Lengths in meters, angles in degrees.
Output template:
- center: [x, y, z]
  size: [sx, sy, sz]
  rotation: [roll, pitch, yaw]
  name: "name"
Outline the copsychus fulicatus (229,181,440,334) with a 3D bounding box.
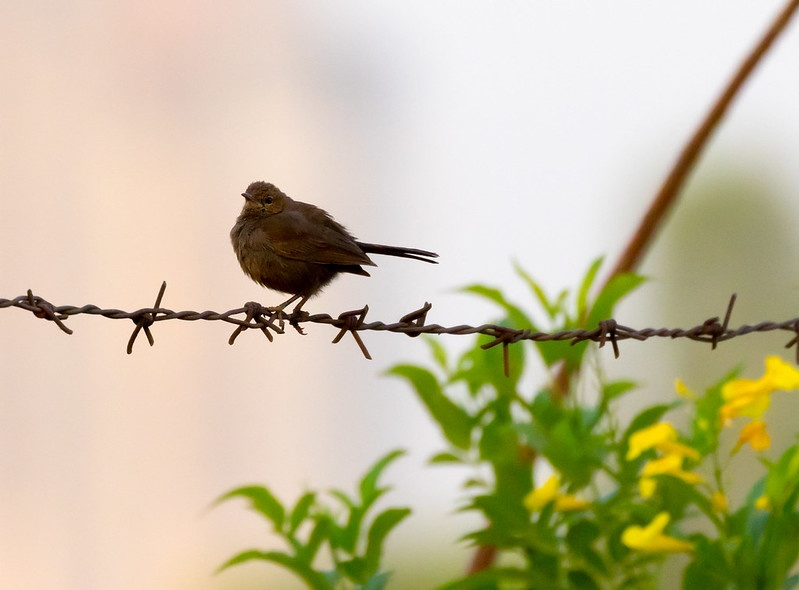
- center: [-0.270, -0.173, 3.690]
  size: [0.796, 0.337, 0.516]
  rotation: [2, -94, -14]
  name: "copsychus fulicatus"
